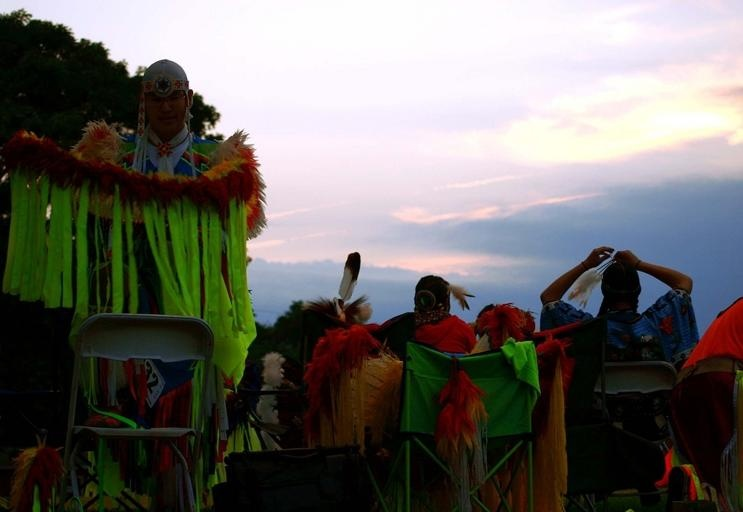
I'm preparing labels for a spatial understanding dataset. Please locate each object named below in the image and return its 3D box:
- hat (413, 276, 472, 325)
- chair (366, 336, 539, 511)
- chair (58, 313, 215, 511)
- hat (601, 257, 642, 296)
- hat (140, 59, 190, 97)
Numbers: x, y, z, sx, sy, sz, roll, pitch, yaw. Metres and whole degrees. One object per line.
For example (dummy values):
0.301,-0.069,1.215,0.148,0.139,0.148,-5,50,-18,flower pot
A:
0.489,0.294,7.608,0.389,0.340,0.287,6,15,16,hat
0.625,0.918,6.585,0.921,0.605,0.883,-11,-37,21,chair
-1.223,0.811,5.858,0.716,1.033,0.564,2,-3,-15,chair
1.621,0.135,7.322,0.302,0.345,0.396,1,-1,7,hat
-1.236,-1.059,6.745,0.282,0.235,0.292,-2,1,31,hat
